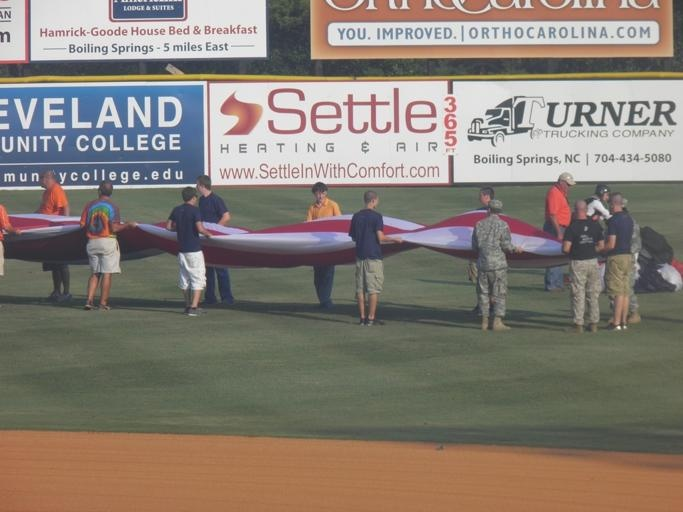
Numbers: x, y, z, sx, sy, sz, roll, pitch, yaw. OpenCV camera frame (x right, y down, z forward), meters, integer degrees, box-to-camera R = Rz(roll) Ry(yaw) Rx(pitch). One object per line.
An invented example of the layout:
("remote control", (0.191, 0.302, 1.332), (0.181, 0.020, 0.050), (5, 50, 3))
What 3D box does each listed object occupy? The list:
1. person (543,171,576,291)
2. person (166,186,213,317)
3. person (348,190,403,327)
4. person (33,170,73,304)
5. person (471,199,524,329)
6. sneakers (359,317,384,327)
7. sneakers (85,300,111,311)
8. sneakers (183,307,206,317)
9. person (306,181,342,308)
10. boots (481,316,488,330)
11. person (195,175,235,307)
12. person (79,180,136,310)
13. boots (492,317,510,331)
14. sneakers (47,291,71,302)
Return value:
("person", (4.820, -0.529, 46.633), (0.873, 2.506, 0.840), (-5, 11, -41))
("person", (-3.148, -0.083, 44.866), (0.944, 2.682, 0.833), (3, 6, 37))
("person", (0.609, 0.063, 44.177), (0.868, 2.808, 0.806), (0, 5, 0))
("person", (-6.312, -0.451, 46.348), (0.691, 2.804, 1.373), (-1, 5, -8))
("person", (3.247, 0.204, 43.902), (1.023, 2.549, 0.962), (5, 4, 38))
("sneakers", (0.623, 1.426, 43.998), (0.526, 0.190, 0.185), (0, 2, -13))
("sneakers", (-5.215, 1.107, 45.022), (0.571, 0.237, 0.200), (1, 5, -7))
("sneakers", (-3.078, 1.221, 44.786), (0.179, 0.170, 0.411), (3, 5, 28))
("person", (-0.377, -0.223, 45.416), (0.929, 2.660, 0.863), (-2, -1, 35))
("boots", (2.980, 1.429, 43.622), (0.151, 0.271, 0.267), (0, 5, 3))
("person", (-2.817, -0.356, 45.617), (1.011, 2.777, 0.894), (-4, -2, 33))
("person", (-5.250, -0.254, 45.307), (1.223, 2.697, 1.086), (0, 15, -34))
("boots", (3.250, 1.451, 43.603), (0.481, 0.297, 0.178), (-6, 8, -26))
("sneakers", (-6.108, 0.942, 45.866), (0.533, 0.217, 0.190), (-2, 1, 17))
